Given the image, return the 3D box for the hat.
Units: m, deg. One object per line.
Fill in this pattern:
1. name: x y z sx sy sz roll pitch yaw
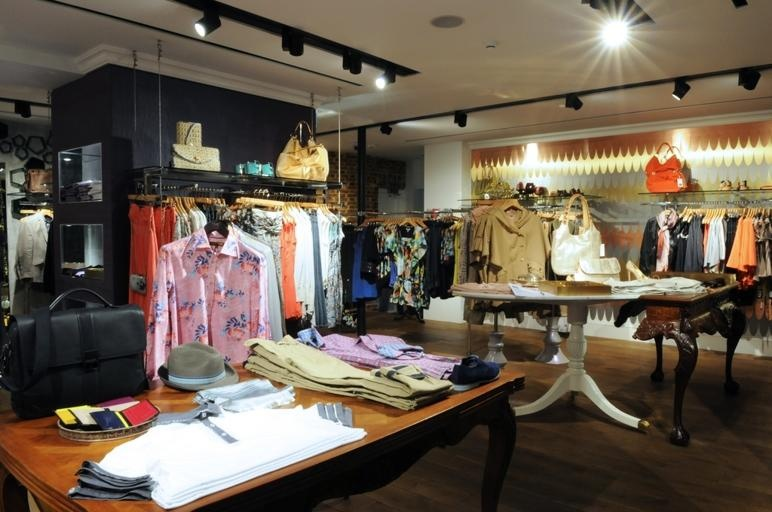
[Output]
1. hat: -0.948 0.557 2.655 0.291 0.100 0.251 3 10 19

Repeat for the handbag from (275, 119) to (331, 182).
1. handbag: -0.981 -1.258 6.312 0.549 0.762 1.235 -2 6 -4

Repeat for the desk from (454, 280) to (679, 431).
1. desk: 1.411 0.852 4.506 1.405 0.811 1.440 3 4 44

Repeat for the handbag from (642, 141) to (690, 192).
1. handbag: 4.003 -1.256 7.515 0.536 0.713 0.503 2 7 29

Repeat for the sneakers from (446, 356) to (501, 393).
1. sneakers: 0.459 0.592 2.733 0.121 0.127 0.315 1 4 44

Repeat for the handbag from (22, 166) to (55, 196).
1. handbag: -4.621 -0.985 7.059 0.269 0.313 0.171 -3 7 -16
